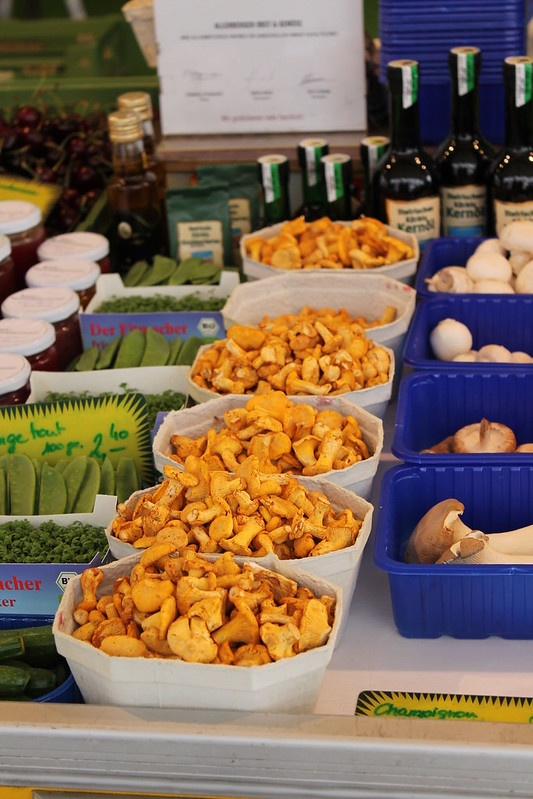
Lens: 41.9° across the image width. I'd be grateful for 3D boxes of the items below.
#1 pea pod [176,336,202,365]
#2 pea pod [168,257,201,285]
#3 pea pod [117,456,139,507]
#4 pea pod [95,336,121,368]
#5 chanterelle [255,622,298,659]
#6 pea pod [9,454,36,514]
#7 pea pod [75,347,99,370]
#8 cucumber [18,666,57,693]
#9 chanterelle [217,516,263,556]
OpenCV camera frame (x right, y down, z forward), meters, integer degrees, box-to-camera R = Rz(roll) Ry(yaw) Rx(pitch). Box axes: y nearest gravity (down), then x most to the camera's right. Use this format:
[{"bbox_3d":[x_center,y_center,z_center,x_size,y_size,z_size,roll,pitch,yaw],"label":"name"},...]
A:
[{"bbox_3d":[-0.167,-0.106,1.565,0.024,0.059,0.054,22,-5,-37],"label":"pea pod"},{"bbox_3d":[-0.210,-0.334,1.795,0.047,0.026,0.102,6,31,9],"label":"pea pod"},{"bbox_3d":[-0.235,0.137,1.173,0.039,0.016,0.066,-1,56,1],"label":"pea pod"},{"bbox_3d":[-0.359,-0.103,1.568,0.019,0.059,0.062,25,55,-16],"label":"pea pod"},{"bbox_3d":[0.010,0.235,0.679,0.030,0.035,0.035,12,26,39],"label":"chanterelle"},{"bbox_3d":[-0.407,0.142,1.159,0.034,0.032,0.125,25,30,-30],"label":"pea pod"},{"bbox_3d":[-0.404,-0.097,1.556,0.033,0.011,0.065,-2,35,7],"label":"pea pod"},{"bbox_3d":[-0.265,0.324,0.806,0.038,0.023,0.031,1,5,-2],"label":"cucumber"},{"bbox_3d":[-0.028,0.160,0.808,0.032,0.016,0.041,17,40,16],"label":"chanterelle"}]
